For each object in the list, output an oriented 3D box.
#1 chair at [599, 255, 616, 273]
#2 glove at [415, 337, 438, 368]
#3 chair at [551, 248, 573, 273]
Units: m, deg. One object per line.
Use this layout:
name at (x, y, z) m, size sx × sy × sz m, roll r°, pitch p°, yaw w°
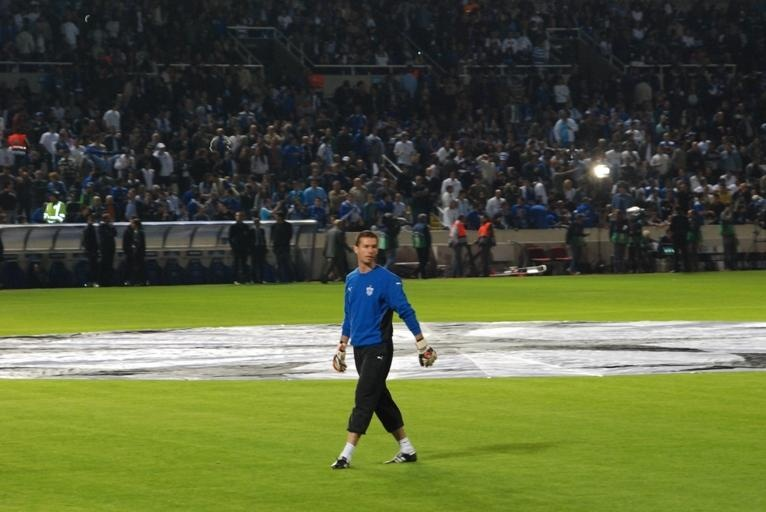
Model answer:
chair at (8.533, 0.332, 57.539) m, size 0.726 × 0.792 × 0.576 m, roll -2°, pitch -1°, yaw 27°
glove at (0.897, 1.959, 30.697) m, size 0.552 × 0.584 × 0.293 m, roll -8°, pitch 12°, yaw 3°
chair at (6.648, 0.211, 57.359) m, size 1.011 × 1.067 × 1.003 m, roll 1°, pitch -1°, yaw -11°
